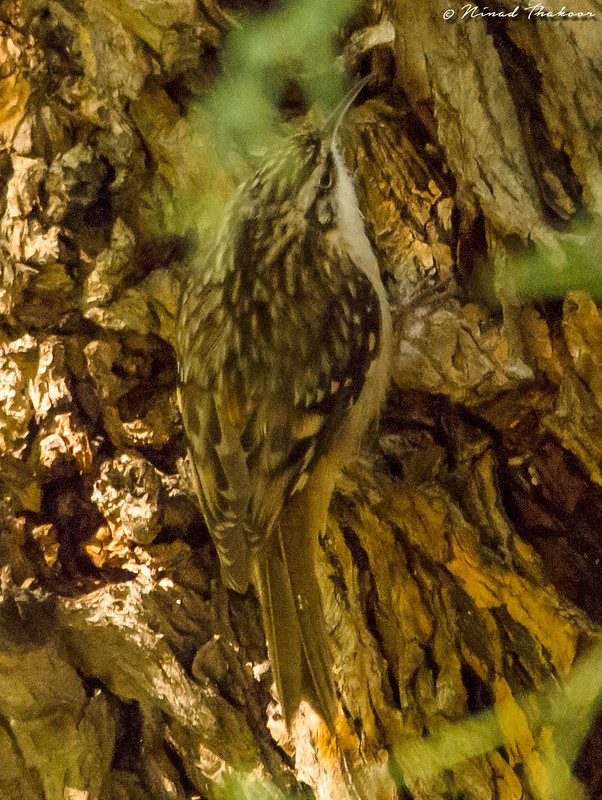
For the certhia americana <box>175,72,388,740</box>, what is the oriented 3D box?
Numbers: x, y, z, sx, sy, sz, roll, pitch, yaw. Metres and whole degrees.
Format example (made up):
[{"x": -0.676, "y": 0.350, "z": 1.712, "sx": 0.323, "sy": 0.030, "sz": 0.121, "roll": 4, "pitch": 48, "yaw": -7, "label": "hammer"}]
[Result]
[{"x": -0.025, "y": -0.056, "z": 1.900, "sx": 0.258, "sy": 1.072, "sz": 0.347, "roll": 6, "pitch": 5, "yaw": 35, "label": "certhia americana"}]
